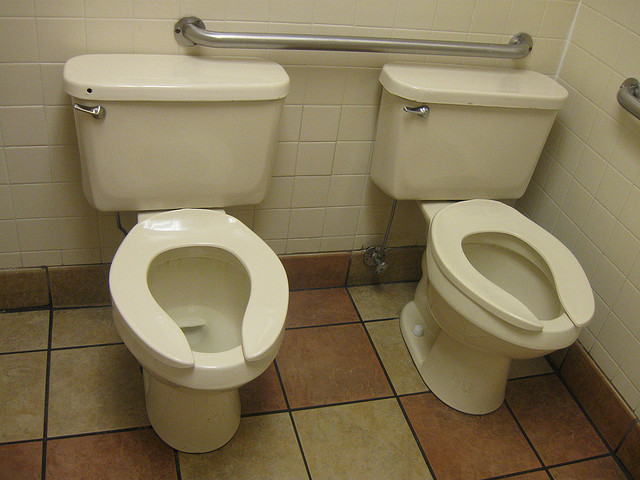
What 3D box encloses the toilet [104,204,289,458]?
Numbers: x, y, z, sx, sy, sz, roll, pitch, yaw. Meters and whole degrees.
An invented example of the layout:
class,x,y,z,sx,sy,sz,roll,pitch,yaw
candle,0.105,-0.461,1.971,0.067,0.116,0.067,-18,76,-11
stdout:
class,x,y,z,sx,sy,sz,roll,pitch,yaw
toilet,-0.376,0.314,1.612,0.442,0.501,0.672,-5,32,-22
